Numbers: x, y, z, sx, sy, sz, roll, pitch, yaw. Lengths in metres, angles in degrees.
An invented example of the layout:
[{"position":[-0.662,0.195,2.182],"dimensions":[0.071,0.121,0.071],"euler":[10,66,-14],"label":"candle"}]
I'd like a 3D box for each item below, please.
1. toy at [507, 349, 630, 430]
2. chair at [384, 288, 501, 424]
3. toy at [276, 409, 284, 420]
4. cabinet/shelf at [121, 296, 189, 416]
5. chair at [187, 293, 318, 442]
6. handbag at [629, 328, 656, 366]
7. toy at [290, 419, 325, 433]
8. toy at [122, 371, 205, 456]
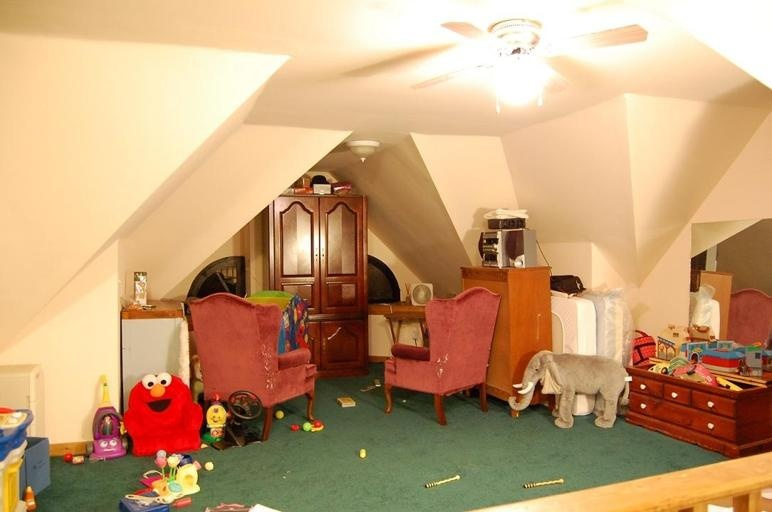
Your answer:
[{"position":[1.751,1.275,5.349],"dimensions":[1.114,0.665,0.521],"euler":[-1,0,10],"label":"toy"},{"position":[0.556,0.988,5.726],"dimensions":[1.134,1.243,1.046],"euler":[-3,-5,24],"label":"chair"},{"position":[-1.049,1.583,5.527],"dimensions":[0.070,0.041,0.069],"euler":[22,17,29],"label":"toy"},{"position":[-2.316,0.849,5.465],"dimensions":[0.519,0.899,0.581],"euler":[4,22,-18],"label":"cabinet/shelf"},{"position":[-1.222,1.021,5.338],"dimensions":[1.110,1.221,1.173],"euler":[0,-3,-2],"label":"chair"},{"position":[2.650,0.980,5.741],"dimensions":[0.177,0.220,0.293],"euler":[-1,11,24],"label":"handbag"},{"position":[-0.738,1.613,5.228],"dimensions":[0.196,0.066,0.136],"euler":[-2,-5,-7],"label":"toy"},{"position":[-1.953,1.394,4.828],"dimensions":[0.689,0.646,0.375],"euler":[0,2,-21],"label":"toy"}]
